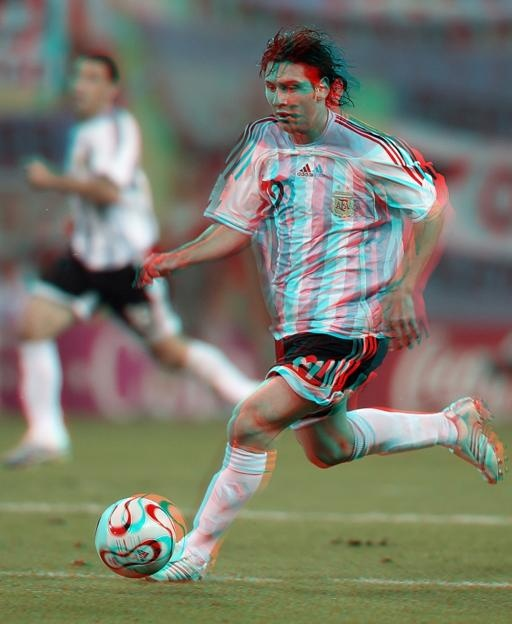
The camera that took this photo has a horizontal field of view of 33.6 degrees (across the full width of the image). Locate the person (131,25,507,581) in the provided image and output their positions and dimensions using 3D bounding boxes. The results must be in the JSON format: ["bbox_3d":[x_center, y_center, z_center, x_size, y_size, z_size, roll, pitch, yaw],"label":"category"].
[{"bbox_3d":[0.237,-0.023,2.600,1.102,1.570,0.421,4,-6,-30],"label":"person"}]

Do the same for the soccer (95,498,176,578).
[{"bbox_3d":[-0.316,0.617,2.299,0.237,0.222,0.151,1,-5,-5],"label":"soccer"}]
